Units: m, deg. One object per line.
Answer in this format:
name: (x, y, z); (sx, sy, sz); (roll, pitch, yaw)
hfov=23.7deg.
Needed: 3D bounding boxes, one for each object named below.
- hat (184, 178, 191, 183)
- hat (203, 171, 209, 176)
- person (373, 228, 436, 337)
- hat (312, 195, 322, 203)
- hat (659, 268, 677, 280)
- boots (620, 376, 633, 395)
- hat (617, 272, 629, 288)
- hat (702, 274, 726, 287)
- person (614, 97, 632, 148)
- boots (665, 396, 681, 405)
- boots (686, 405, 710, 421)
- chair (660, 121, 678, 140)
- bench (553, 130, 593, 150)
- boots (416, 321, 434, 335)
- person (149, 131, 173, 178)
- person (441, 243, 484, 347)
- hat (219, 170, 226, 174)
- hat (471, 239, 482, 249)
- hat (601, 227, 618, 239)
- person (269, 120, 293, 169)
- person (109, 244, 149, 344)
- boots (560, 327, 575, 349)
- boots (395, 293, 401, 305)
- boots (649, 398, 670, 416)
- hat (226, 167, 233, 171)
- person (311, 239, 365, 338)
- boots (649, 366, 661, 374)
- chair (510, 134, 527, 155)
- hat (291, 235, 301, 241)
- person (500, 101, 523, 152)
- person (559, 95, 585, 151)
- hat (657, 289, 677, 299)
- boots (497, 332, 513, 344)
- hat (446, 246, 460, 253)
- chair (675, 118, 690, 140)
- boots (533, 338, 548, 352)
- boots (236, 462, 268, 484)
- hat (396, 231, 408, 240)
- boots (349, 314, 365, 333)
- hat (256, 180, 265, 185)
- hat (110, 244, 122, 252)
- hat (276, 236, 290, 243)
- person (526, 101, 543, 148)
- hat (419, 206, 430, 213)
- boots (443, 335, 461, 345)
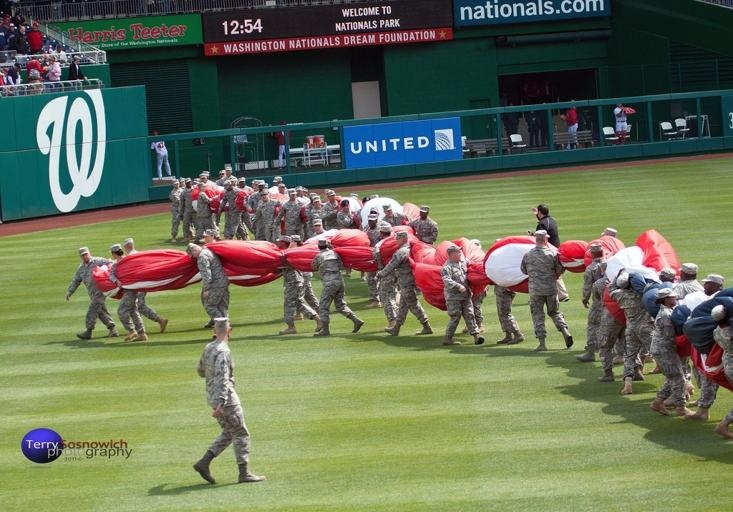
hat: (-6.798, -2.936, 67.222); (0.282, 0.108, 0.336); (-5, 3, -21)
hat: (-6.074, -3.165, 66.632); (0.362, 0.126, 0.416); (0, 5, -1)
person: (1.213, 0.846, 55.947); (1.244, 3.346, 0.727); (-3, 6, 24)
hat: (-1.747, -2.019, 61.134); (0.299, 0.262, 0.389); (-4, 5, -5)
hat: (8.824, 0.531, 51.128); (0.320, 0.403, 0.602); (0, 6, 41)
boots: (7.684, 3.769, 51.811); (0.361, 0.556, 0.609); (-4, 5, 8)
hat: (7.494, 0.689, 51.148); (0.250, 0.328, 0.418); (21, 27, 17)
hat: (9.914, 0.665, 49.874); (0.721, 0.162, 0.423); (2, 1, 6)
person: (11.674, -6.049, 79.487); (0.842, 1.792, 0.895); (-4, 5, 6)
boots: (8.877, 4.189, 50.804); (0.398, 0.274, 0.260); (-21, 1, 2)
boots: (9.525, 4.474, 50.508); (0.696, 0.460, 0.328); (-3, 5, 6)
chair: (13.765, -5.788, 79.633); (0.758, 0.722, 0.650); (-14, 25, -13)
bench: (9.405, -5.324, 79.717); (3.238, 0.713, 0.914); (1, -13, -2)
boots: (1.903, 2.303, 56.150); (0.683, 0.455, 0.322); (2, 12, 4)
person: (-8.882, -4.321, 75.922); (0.810, 1.844, 0.685); (-6, 5, -11)
person: (2.917, 1.206, 54.753); (1.184, 3.149, 0.749); (-5, 5, 1)
hat: (-5.522, -3.260, 67.643); (0.377, 0.111, 0.463); (-1, 5, 4)
hat: (3.560, -0.410, 56.775); (0.405, 0.155, 0.269); (16, -7, 30)
hat: (7.904, -0.776, 56.920); (0.506, 0.200, 0.407); (17, 18, 41)
person: (-3.638, -4.803, 76.933); (0.925, 1.940, 0.506); (-6, 5, -15)
person: (-7.645, 1.188, 56.617); (0.852, 3.116, 0.895); (-4, 5, 10)
boots: (6.216, 2.525, 54.266); (0.339, 0.571, 0.632); (-19, 23, -7)
boots: (1.024, 1.375, 57.763); (0.246, 0.324, 0.143); (4, -1, -6)
boots: (8.531, 4.326, 50.878); (0.509, 0.521, 0.290); (-3, 5, 4)
hat: (-5.276, -3.374, 67.133); (0.415, 0.122, 0.503); (1, 2, 1)
person: (-1.035, 0.948, 56.651); (1.439, 3.125, 1.263); (-5, 5, -1)
boots: (8.688, 3.404, 52.707); (0.373, 0.219, 0.302); (-2, 5, 16)
chair: (6.827, -5.181, 79.861); (1.068, 0.957, 0.896); (-4, 10, -12)
hat: (-2.275, -0.605, 56.914); (0.229, 0.098, 0.226); (-3, 5, -40)
person: (6.592, -5.662, 79.148); (0.889, 1.734, 1.154); (-4, 5, 4)
person: (9.230, -5.857, 79.056); (0.734, 2.008, 1.397); (-4, 5, 6)
hat: (8.616, 1.048, 50.205); (0.435, 0.107, 0.354); (-4, 4, -21)
boots: (4.404, 2.599, 55.044); (0.657, 0.413, 0.237); (2, -5, 15)
hat: (2.718, -0.245, 54.638); (0.401, 0.220, 0.209); (-2, 5, 6)
chair: (14.323, -5.830, 79.537); (0.648, 0.956, 0.273); (-4, 5, 6)
boots: (5.445, 2.737, 54.261); (0.565, 0.400, 0.310); (5, 9, 25)
boots: (-3.318, 6.133, 49.362); (1.133, 0.515, 0.355); (-1, 3, -8)
hat: (1.147, -0.687, 55.715); (0.348, 0.151, 0.290); (0, 2, -15)
boots: (-0.312, 2.168, 56.778); (0.597, 0.550, 0.219); (30, 42, 4)
hat: (-3.921, -2.777, 65.178); (0.481, 0.146, 0.587); (0, 4, -1)
hat: (-8.123, -0.280, 56.618); (0.443, 0.271, 0.297); (-6, 4, 9)
hat: (-2.697, -0.575, 56.931); (0.364, 0.147, 0.255); (-1, 5, 19)
person: (7.664, -5.761, 79.144); (0.809, 1.600, 1.026); (-4, 5, 4)
hat: (1.971, -1.616, 59.041); (0.301, 0.109, 0.334); (4, 3, 6)
boots: (2.633, 2.620, 55.228); (0.670, 0.314, 0.213); (-4, 11, -7)
